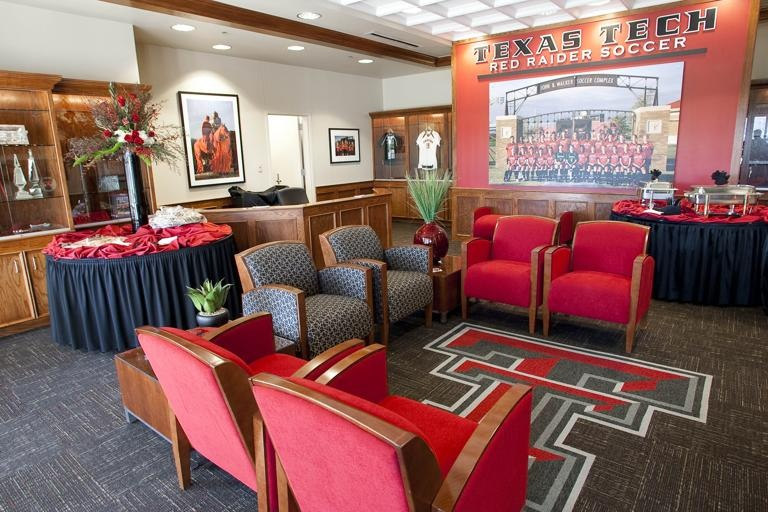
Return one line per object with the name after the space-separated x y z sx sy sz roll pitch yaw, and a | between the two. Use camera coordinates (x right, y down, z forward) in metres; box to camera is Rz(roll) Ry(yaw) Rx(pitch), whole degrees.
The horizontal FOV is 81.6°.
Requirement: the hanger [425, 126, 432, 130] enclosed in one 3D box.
0.976 -2.805 9.712 0.142 0.096 0.078 2 2 28 | hanger

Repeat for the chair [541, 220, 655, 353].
2.198 0.253 4.606 0.948 1.139 0.817 5 16 30 | chair

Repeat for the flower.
-3.432 -1.723 5.856 1.341 1.038 2.509 -8 15 -22 | flower

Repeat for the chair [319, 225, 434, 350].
-0.213 0.196 4.902 1.290 1.317 1.076 7 14 40 | chair

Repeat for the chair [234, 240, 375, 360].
-0.694 0.315 4.272 1.154 1.072 1.046 7 13 38 | chair

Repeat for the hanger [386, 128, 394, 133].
0.145 -2.877 10.183 0.118 0.125 0.094 3 8 18 | hanger

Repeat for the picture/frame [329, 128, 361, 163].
-0.890 -2.482 9.865 0.804 0.665 0.061 -20 27 -41 | picture/frame

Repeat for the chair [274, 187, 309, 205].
-1.587 -1.038 7.731 0.429 0.502 0.409 5 10 32 | chair
